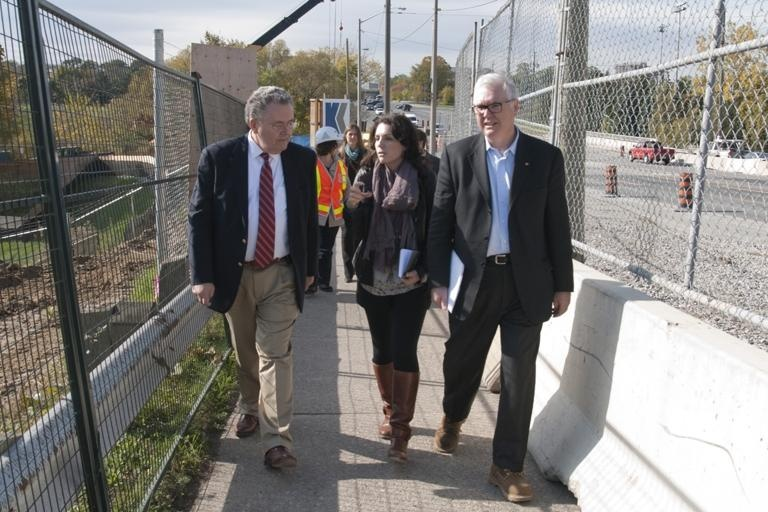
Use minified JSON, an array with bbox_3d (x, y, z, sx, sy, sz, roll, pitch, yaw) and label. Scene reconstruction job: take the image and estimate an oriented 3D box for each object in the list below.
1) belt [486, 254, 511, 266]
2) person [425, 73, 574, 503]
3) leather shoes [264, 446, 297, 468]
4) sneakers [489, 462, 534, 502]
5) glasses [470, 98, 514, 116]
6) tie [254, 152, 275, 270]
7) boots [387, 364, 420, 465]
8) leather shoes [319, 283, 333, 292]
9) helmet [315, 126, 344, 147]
[{"bbox_3d":[0.785,0.031,3.621,0.153,0.080,0.023,3,10,8],"label":"belt"},{"bbox_3d":[0.784,0.185,3.659,0.979,2.791,0.566,6,11,23],"label":"person"},{"bbox_3d":[-0.733,1.435,3.763,0.111,0.135,0.277,7,-19,-30],"label":"leather shoes"},{"bbox_3d":[0.860,1.549,3.614,0.126,0.155,0.281,-3,1,-31],"label":"sneakers"},{"bbox_3d":[0.746,-1.011,3.574,0.275,0.102,0.113,4,11,11],"label":"glasses"},{"bbox_3d":[-0.890,-0.335,3.919,0.148,0.830,0.156,-1,10,-13],"label":"tie"},{"bbox_3d":[0.139,1.211,4.052,0.201,0.605,0.402,3,11,7],"label":"boots"},{"bbox_3d":[-0.918,0.515,8.362,0.216,0.096,0.088,10,14,43],"label":"leather shoes"},{"bbox_3d":[-0.806,-1.728,7.837,0.403,0.235,0.293,-21,26,-31],"label":"helmet"}]
